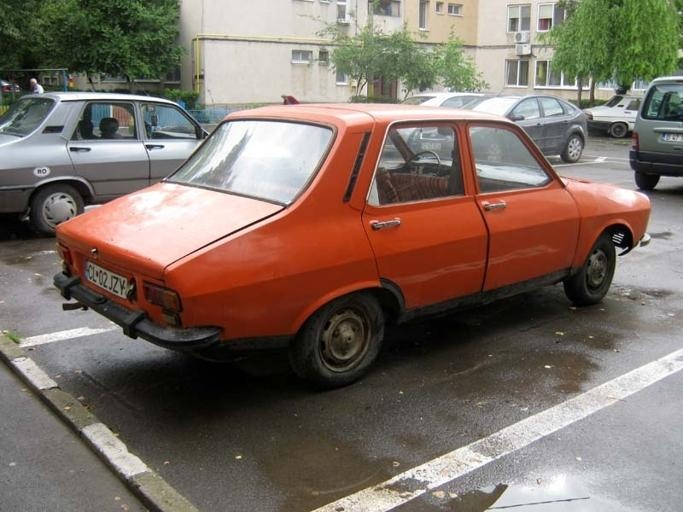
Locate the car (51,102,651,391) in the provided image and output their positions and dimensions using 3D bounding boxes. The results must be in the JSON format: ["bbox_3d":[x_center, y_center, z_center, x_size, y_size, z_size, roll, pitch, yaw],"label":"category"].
[{"bbox_3d":[0.457,-0.305,4.666,4.810,1.404,2.221,-11,19,-32],"label":"car"}]

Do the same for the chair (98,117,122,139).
[{"bbox_3d":[-3.861,-2.133,8.510,0.402,0.328,0.443,-3,13,-25],"label":"chair"}]
